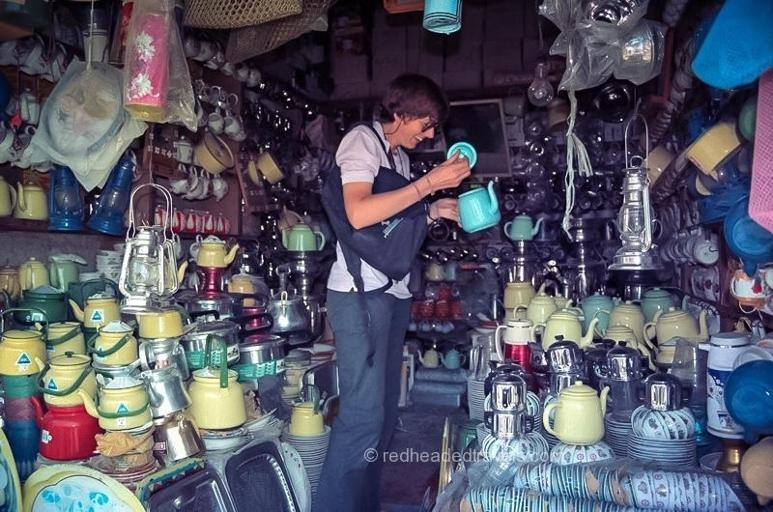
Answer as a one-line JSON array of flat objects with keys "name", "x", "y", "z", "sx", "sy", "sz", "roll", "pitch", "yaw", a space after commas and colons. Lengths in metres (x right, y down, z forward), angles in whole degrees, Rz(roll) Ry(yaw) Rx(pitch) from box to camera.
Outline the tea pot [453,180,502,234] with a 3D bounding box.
[{"name": "tea pot", "x": 0.409, "y": -0.206, "z": 2.464, "sx": 0.181, "sy": 0.174, "sz": 0.244, "roll": -18, "pitch": 0, "yaw": -36}]

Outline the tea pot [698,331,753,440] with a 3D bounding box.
[{"name": "tea pot", "x": 1.149, "y": 0.435, "z": 1.892, "sx": 0.161, "sy": 0.317, "sz": 0.164, "roll": 1, "pitch": -2, "yaw": 0}]

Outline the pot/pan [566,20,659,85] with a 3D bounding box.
[{"name": "pot/pan", "x": 0.892, "y": -0.787, "z": 2.211, "sx": 0.400, "sy": 0.265, "sz": 0.195, "roll": 1, "pitch": -3, "yaw": -20}]

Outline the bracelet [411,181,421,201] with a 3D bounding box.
[{"name": "bracelet", "x": 0.123, "y": -0.261, "z": 2.310, "sx": 0.015, "sy": 0.056, "sz": 0.058, "roll": -20, "pitch": 13, "yaw": -11}]

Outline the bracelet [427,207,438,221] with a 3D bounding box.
[{"name": "bracelet", "x": 0.203, "y": -0.193, "z": 2.547, "sx": 0.046, "sy": 0.022, "sz": 0.052, "roll": -38, "pitch": -32, "yaw": -13}]

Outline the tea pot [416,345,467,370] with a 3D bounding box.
[{"name": "tea pot", "x": 0.461, "y": 0.852, "z": 4.740, "sx": 0.413, "sy": 0.178, "sz": 0.177, "roll": 3, "pitch": -1, "yaw": 11}]

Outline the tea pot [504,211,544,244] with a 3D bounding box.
[{"name": "tea pot", "x": 0.985, "y": -0.213, "z": 4.078, "sx": 0.345, "sy": 0.238, "sz": 0.220, "roll": 4, "pitch": 5, "yaw": 27}]

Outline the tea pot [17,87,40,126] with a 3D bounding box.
[{"name": "tea pot", "x": -1.749, "y": -0.729, "z": 2.777, "sx": 0.099, "sy": 0.178, "sz": 0.062, "roll": 1, "pitch": -3, "yaw": -25}]

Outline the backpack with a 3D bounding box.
[{"name": "backpack", "x": 0.038, "y": -0.098, "z": 2.394, "sx": 0.342, "sy": 0.142, "sz": 0.348, "roll": -29, "pitch": -34, "yaw": 24}]
